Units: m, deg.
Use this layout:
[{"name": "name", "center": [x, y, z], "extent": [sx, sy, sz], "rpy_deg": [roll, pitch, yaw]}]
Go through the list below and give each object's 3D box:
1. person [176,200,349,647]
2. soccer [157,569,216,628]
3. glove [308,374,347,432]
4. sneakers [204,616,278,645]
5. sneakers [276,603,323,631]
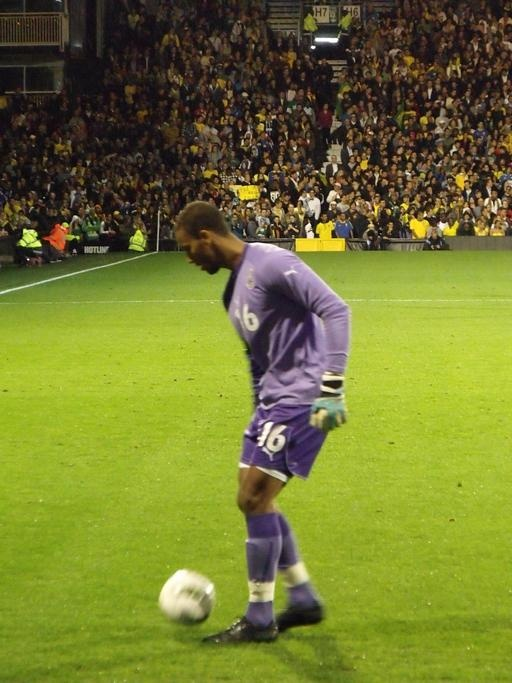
[{"name": "person", "center": [0.009, 0.309, 3.426], "extent": [0.700, 1.608, 0.398], "rpy_deg": [2, 10, 18]}, {"name": "soccer", "center": [-0.265, 0.967, 3.554], "extent": [0.231, 0.242, 0.205], "rpy_deg": [-3, -15, 31]}, {"name": "glove", "center": [0.263, 0.186, 3.203], "extent": [0.120, 0.230, 0.091], "rpy_deg": [-7, 21, -8]}, {"name": "sneakers", "center": [-0.056, 1.081, 3.560], "extent": [0.286, 0.111, 0.101], "rpy_deg": [2, -13, -3]}, {"name": "sneakers", "center": [0.164, 1.048, 3.600], "extent": [0.229, 0.095, 0.082], "rpy_deg": [-5, -10, -15]}]
